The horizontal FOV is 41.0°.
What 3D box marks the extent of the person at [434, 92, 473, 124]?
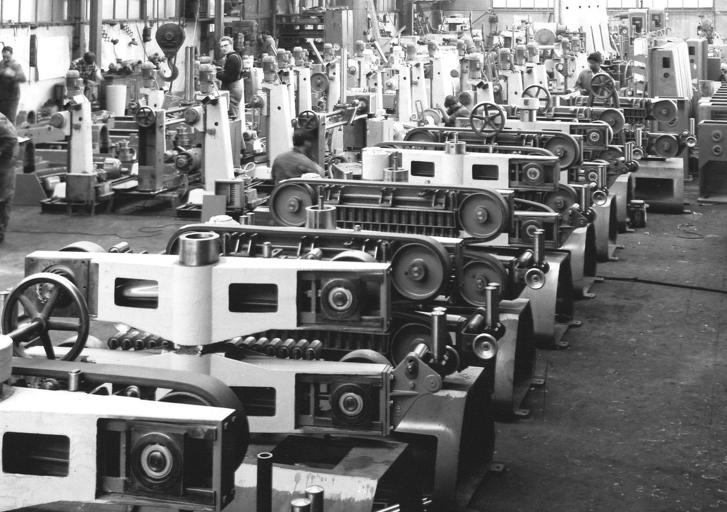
[{"bbox_3d":[1.182,-1.937,12.822,0.418,0.447,0.745,-5,8,10],"label":"person"}]
